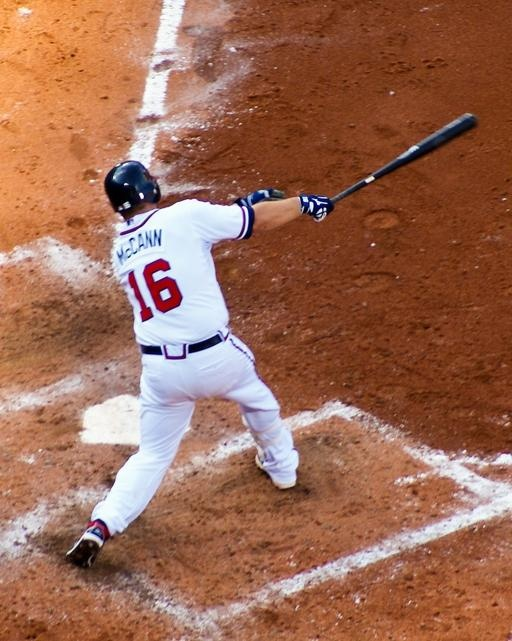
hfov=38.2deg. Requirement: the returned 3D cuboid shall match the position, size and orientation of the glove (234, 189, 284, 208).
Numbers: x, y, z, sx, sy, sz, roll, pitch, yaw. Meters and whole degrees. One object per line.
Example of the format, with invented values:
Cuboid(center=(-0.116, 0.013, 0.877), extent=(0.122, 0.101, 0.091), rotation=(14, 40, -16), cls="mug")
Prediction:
Cuboid(center=(0.027, -0.704, 4.224), extent=(0.328, 0.246, 0.072), rotation=(-11, 97, -14), cls="glove")
